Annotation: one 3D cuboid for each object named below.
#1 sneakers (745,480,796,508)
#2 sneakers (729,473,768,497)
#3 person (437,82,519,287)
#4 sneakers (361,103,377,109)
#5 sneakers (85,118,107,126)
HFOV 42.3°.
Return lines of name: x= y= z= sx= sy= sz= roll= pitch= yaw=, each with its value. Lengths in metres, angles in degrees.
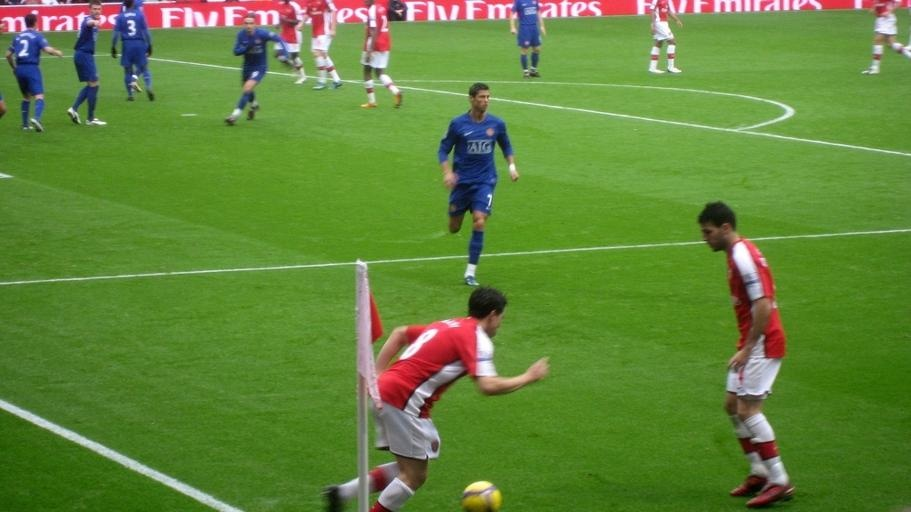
sneakers: x=4.125 y=3.066 z=15.328 sx=0.824 sy=0.221 sz=0.242 roll=-9 pitch=0 yaw=-4
sneakers: x=3.771 y=2.979 z=15.492 sx=0.680 sy=0.188 sz=0.201 roll=-10 pitch=11 yaw=9
person: x=0.329 y=-1.208 z=19.477 sx=1.148 sy=3.233 sz=1.326 roll=3 pitch=16 yaw=11
sneakers: x=-2.133 y=-3.676 z=28.920 sx=0.327 sy=0.131 sz=0.552 roll=-7 pitch=12 yaw=-32
sneakers: x=-8.341 y=-3.051 z=26.965 sx=0.625 sy=0.155 sz=0.177 roll=-1 pitch=9 yaw=-3
